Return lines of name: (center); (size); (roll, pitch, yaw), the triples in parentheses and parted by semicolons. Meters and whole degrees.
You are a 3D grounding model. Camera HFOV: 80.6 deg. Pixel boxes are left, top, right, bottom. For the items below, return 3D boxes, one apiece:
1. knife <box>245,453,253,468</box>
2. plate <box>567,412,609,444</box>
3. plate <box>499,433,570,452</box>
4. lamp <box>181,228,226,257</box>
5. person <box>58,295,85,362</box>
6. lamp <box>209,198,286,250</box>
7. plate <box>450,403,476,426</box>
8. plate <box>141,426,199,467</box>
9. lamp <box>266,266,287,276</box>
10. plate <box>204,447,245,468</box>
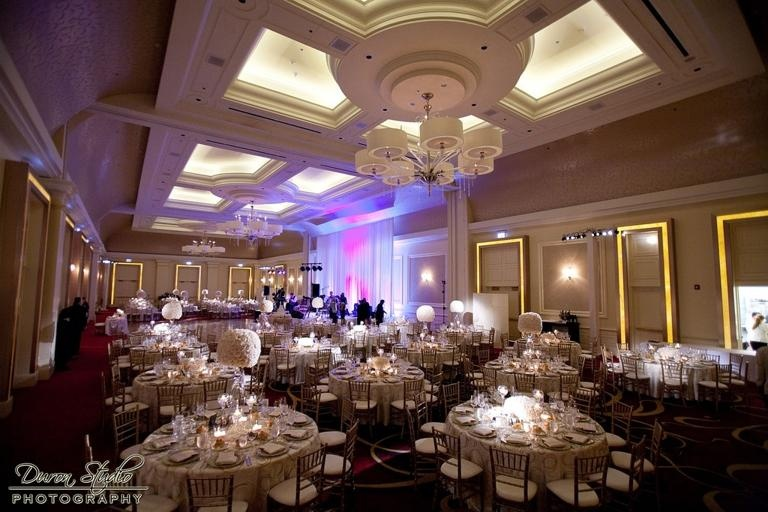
knife: (-2.012, 3.015, 6.712); (0.083, 0.040, 0.129); (18, 9, -28)
plate: (3.300, 2.809, 7.384); (0.462, 0.164, 0.695); (-1, 9, -26)
plate: (2.334, 2.909, 7.076); (0.612, 0.085, 0.369); (3, -5, 1)
lamp: (-10.549, -0.516, 26.310); (2.117, 1.402, 2.077); (2, 0, -24)
person: (-9.069, 2.160, 13.067); (0.491, 1.912, 1.455); (4, -8, -25)
lamp: (-5.568, -1.222, 19.130); (2.464, 1.757, 2.431); (2, 14, -8)
plate: (1.342, 2.735, 7.830); (0.462, 0.236, 0.555); (0, -7, 6)
plate: (-3.226, 2.922, 6.838); (0.841, 0.320, 0.562); (3, -8, -19)
lamp: (-7.419, 1.034, 30.950); (0.192, 0.756, 3.451); (6, -9, -34)
plate: (-2.359, 2.994, 6.710); (0.545, 0.192, 0.286); (2, -7, -10)
